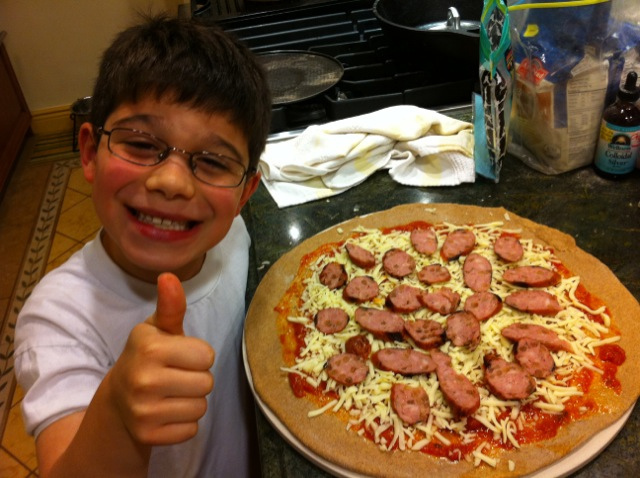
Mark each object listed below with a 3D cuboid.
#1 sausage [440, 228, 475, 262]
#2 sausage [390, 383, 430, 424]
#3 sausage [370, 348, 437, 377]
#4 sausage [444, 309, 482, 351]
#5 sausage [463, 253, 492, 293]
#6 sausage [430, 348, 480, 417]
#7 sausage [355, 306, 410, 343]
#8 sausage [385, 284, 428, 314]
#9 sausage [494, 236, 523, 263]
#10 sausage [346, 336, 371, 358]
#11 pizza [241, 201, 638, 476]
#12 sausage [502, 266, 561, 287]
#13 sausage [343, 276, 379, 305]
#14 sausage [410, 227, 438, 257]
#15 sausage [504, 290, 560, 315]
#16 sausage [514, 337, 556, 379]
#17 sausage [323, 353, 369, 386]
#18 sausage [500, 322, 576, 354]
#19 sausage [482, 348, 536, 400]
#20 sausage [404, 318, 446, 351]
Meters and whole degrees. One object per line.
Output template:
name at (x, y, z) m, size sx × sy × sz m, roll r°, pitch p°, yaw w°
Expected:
sausage at (0.372, 0.019, 1.351) m, size 0.083 × 0.029 × 0.118 m, roll 15°, pitch 47°, yaw 42°
sausage at (0.194, 0.343, 1.084) m, size 0.080 × 0.104 × 0.025 m, roll -18°, pitch 12°, yaw 11°
sausage at (0.190, 0.278, 1.135) m, size 0.119 × 0.022 × 0.064 m, roll 3°, pitch 39°, yaw 13°
sausage at (0.328, 0.201, 1.175) m, size 0.084 × 0.104 × 0.028 m, roll -26°, pitch 29°, yaw 7°
sausage at (0.402, 0.080, 1.281) m, size 0.071 × 0.128 × 0.021 m, roll -2°, pitch 37°, yaw 23°
sausage at (0.294, 0.308, 1.084) m, size 0.054 × 0.023 × 0.135 m, roll -2°, pitch 40°, yaw -17°
sausage at (0.145, 0.203, 1.195) m, size 0.115 × 0.028 × 0.062 m, roll 24°, pitch 50°, yaw 27°
sausage at (0.209, 0.150, 1.239) m, size 0.068 × 0.018 × 0.073 m, roll 29°, pitch 52°, yaw 27°
sausage at (0.491, 0.031, 1.302) m, size 0.064 × 0.016 × 0.061 m, roll -32°, pitch 53°, yaw -18°
sausage at (0.092, 0.251, 1.164) m, size 0.041 × 0.025 × 0.045 m, roll -11°, pitch 40°, yaw -4°
pizza at (0.277, 0.184, 1.214) m, size 0.929 × 0.083 × 0.729 m, roll -4°, pitch 45°, yaw 3°
sausage at (0.529, 0.095, 1.244) m, size 0.108 × 0.020 × 0.065 m, roll -1°, pitch 41°, yaw 12°
sausage at (0.099, 0.136, 1.274) m, size 0.017 × 0.073 × 0.072 m, roll 1°, pitch 58°, yaw 49°
sausage at (0.283, 0.008, 1.367) m, size 0.070 × 0.026 × 0.112 m, roll -10°, pitch 37°, yaw 1°
sausage at (0.508, 0.152, 1.199) m, size 0.095 × 0.015 × 0.057 m, roll 4°, pitch 45°, yaw 16°
sausage at (0.477, 0.256, 1.116) m, size 0.078 × 0.100 × 0.022 m, roll -4°, pitch 17°, yaw 42°
sausage at (0.064, 0.289, 1.144) m, size 0.103 × 0.085 × 0.026 m, roll 27°, pitch 22°, yaw -20°
sausage at (0.496, 0.209, 1.128) m, size 0.122 × 0.023 × 0.066 m, roll 26°, pitch 33°, yaw 30°
sausage at (0.409, 0.307, 1.103) m, size 0.107 × 0.035 × 0.151 m, roll 8°, pitch 33°, yaw 7°
sausage at (0.245, 0.226, 1.174) m, size 0.065 × 0.017 × 0.071 m, roll -6°, pitch 34°, yaw -2°
